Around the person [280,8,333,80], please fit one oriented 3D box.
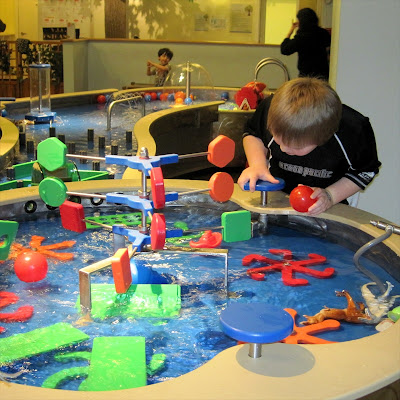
[{"bbox_3d":[1.578,-2.291,5.750,0.687,0.958,0.372,4,15,12],"label":"person"}]
